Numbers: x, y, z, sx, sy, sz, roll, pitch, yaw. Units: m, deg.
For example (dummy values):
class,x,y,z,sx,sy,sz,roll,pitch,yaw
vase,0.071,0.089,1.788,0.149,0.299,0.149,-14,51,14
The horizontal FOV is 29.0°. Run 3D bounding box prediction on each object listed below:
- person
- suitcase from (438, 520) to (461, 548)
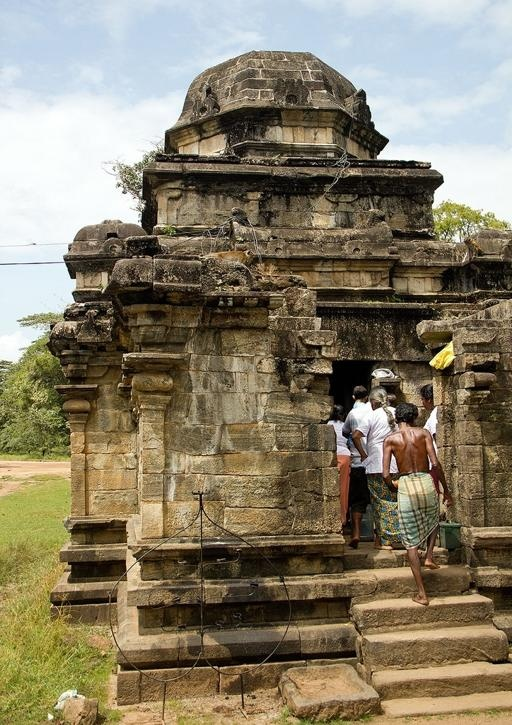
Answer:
class,x,y,z,sx,sy,sz,roll,pitch,yaw
person,1.286,1.180,8.673,0.756,1.658,1.097,-1,-4,-1
suitcase,1.736,1.536,8.940,0.211,0.235,0.356,0,-3,-7
